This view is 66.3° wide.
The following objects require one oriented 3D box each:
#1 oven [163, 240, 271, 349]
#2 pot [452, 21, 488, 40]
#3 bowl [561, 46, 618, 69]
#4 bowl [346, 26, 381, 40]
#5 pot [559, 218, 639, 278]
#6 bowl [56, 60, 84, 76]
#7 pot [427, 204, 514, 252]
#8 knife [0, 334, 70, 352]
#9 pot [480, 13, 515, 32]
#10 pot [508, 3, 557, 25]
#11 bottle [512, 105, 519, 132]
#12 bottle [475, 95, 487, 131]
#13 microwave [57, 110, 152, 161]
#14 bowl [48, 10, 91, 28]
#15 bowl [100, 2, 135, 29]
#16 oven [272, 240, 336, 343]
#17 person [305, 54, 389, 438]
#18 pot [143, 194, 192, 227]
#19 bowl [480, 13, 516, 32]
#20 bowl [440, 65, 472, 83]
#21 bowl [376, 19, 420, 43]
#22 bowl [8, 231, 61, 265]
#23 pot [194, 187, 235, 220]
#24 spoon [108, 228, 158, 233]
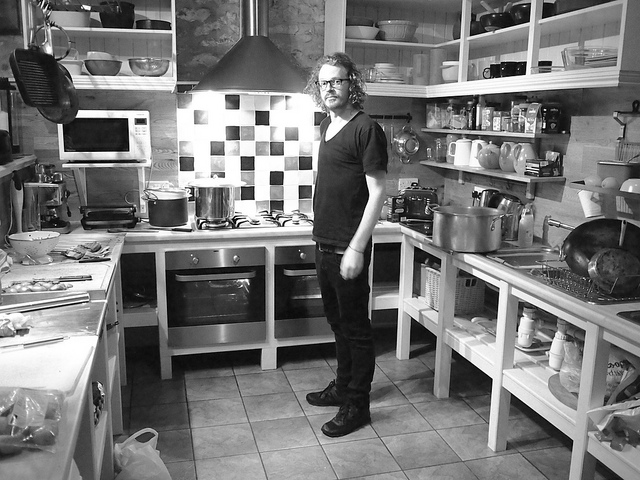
[{"bbox_3d":[-0.763,0.383,3.560,0.701,0.679,0.483,-2,5,-13],"label":"oven"},{"bbox_3d":[1.062,-1.521,3.548,0.161,0.099,0.172,0,8,0],"label":"pot"},{"bbox_3d":[1.423,-0.950,2.536,0.173,0.122,0.294,-9,17,-32],"label":"bowl"},{"bbox_3d":[0.303,-1.535,3.630,0.133,0.046,0.133,-1,3,0],"label":"bowl"},{"bbox_3d":[1.364,0.032,2.354,0.324,0.262,0.251,1,15,0],"label":"pot"},{"bbox_3d":[-1.680,-1.170,3.319,0.140,0.117,0.249,-6,16,-25],"label":"bowl"},{"bbox_3d":[0.878,-0.069,2.969,0.374,0.239,0.402,1,15,0],"label":"pot"},{"bbox_3d":[-0.997,0.362,1.707,0.202,0.021,0.021,-7,7,-33],"label":"knife"},{"bbox_3d":[1.152,-1.418,3.177,0.144,0.052,0.143,-3,10,0],"label":"pot"},{"bbox_3d":[1.252,-1.372,2.957,0.101,0.123,0.380,-5,16,-20],"label":"pot"},{"bbox_3d":[1.280,-0.801,3.209,0.045,0.164,0.023,7,16,24],"label":"bottle"},{"bbox_3d":[1.175,-0.934,3.579,0.073,0.244,0.259,5,15,17],"label":"bottle"},{"bbox_3d":[-1.511,-0.719,3.538,0.631,0.376,0.376,-2,4,-5],"label":"microwave"},{"bbox_3d":[-1.645,-1.451,3.214,0.236,0.104,0.135,-6,16,-25],"label":"bowl"},{"bbox_3d":[-1.356,-1.492,3.253,0.188,0.142,0.200,2,15,0],"label":"bowl"},{"bbox_3d":[-0.121,0.330,3.704,0.520,0.683,0.495,0,11,-10],"label":"oven"},{"bbox_3d":[0.134,0.044,2.817,0.423,2.117,0.519,-7,17,-27],"label":"person"},{"bbox_3d":[-1.079,-0.221,3.524,0.283,0.268,0.407,4,7,38],"label":"pot"},{"bbox_3d":[1.147,-1.420,3.188,0.145,0.052,0.145,-3,10,0],"label":"bowl"},{"bbox_3d":[0.990,-1.210,3.559,0.235,0.163,0.201,-16,24,-35],"label":"bowl"},{"bbox_3d":[0.581,-1.578,3.686,0.221,0.084,0.219,1,9,0],"label":"bowl"},{"bbox_3d":[-1.553,0.030,2.659,0.205,0.130,0.205,3,2,0],"label":"bowl"},{"bbox_3d":[-0.759,-0.288,3.542,0.310,0.275,0.308,1,10,0],"label":"pot"},{"bbox_3d":[-1.296,-0.063,3.335,0.333,0.012,0.091,2,15,4],"label":"spoon"}]
